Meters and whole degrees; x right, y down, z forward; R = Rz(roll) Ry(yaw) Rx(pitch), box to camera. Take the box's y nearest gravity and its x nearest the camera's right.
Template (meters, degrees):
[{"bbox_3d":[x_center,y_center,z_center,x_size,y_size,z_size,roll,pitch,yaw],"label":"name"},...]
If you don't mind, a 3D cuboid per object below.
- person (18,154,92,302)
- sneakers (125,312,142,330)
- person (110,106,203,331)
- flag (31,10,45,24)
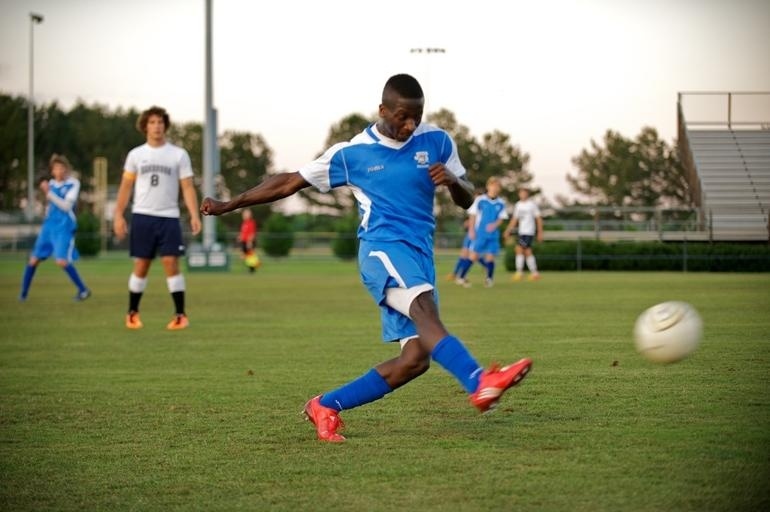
[{"bbox_3d":[-4.614,-0.334,13.494,0.858,2.208,0.894,-8,15,-30],"label":"person"},{"bbox_3d":[-3.104,0.795,11.958,0.162,0.112,0.260,-1,-2,-22],"label":"sneakers"},{"bbox_3d":[-2.761,-0.415,11.733,0.988,2.716,0.751,-4,13,-15],"label":"person"},{"bbox_3d":[-3.440,-2.339,9.584,0.111,0.082,1.206,-5,13,-18],"label":"flag"}]
